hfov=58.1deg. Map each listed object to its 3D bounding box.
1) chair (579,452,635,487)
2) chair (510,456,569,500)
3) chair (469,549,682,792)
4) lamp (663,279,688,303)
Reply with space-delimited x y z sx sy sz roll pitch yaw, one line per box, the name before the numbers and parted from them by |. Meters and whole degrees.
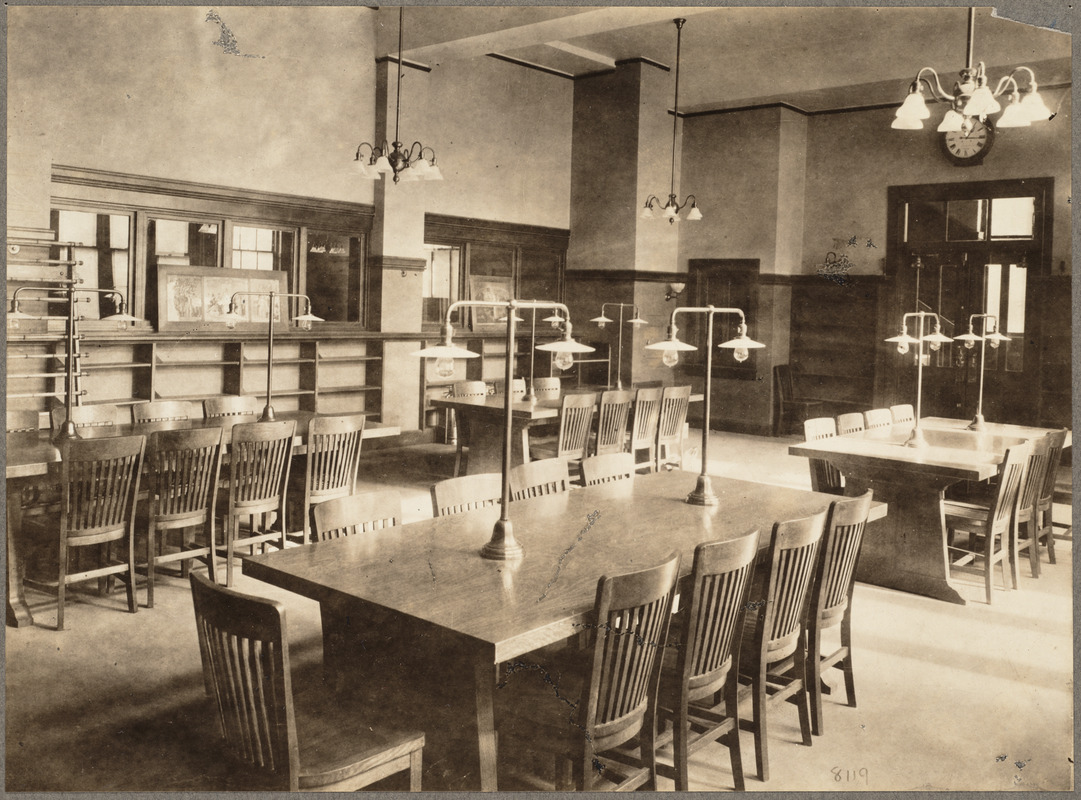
chair | 0.413 0.433 5.994 0.214 0.359 0.237 -2 12 -23
chair | -0.003 0.439 5.637 0.235 0.380 0.264 -1 4 -25
chair | 0.183 1.187 4.179 0.738 1.082 0.532 3 5 28
lamp | 1.917 -1.466 13.319 0.283 0.396 0.314 -7 8 -42
